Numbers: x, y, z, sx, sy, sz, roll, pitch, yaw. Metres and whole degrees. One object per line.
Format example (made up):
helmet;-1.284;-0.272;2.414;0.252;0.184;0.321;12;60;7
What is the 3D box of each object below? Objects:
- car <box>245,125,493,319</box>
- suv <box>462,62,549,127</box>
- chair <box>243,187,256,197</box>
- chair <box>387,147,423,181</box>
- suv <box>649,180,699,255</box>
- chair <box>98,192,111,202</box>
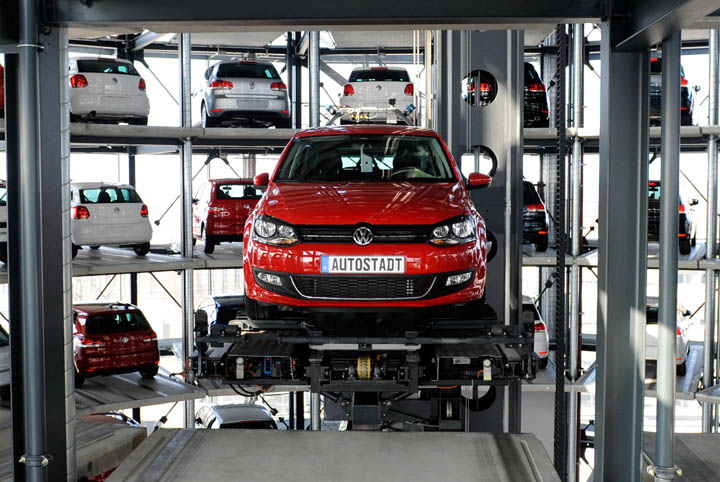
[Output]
car;0.205;-0.308;13.930;2.933;2.260;3.238;0;4;6
suv;2.614;-2.405;18.990;1.018;0.886;1.958;0;12;9
chair;-1.924;-0.846;19.679;0.161;0.203;0.215;-2;-6;-3
chair;0.532;-0.889;13.495;0.267;0.403;0.172;4;-22;2
suv;5.300;-0.375;19.524;1.363;1.061;2.174;0;9;19
chair;-4.172;-0.718;18.498;0.199;0.184;0.100;-1;3;-17
